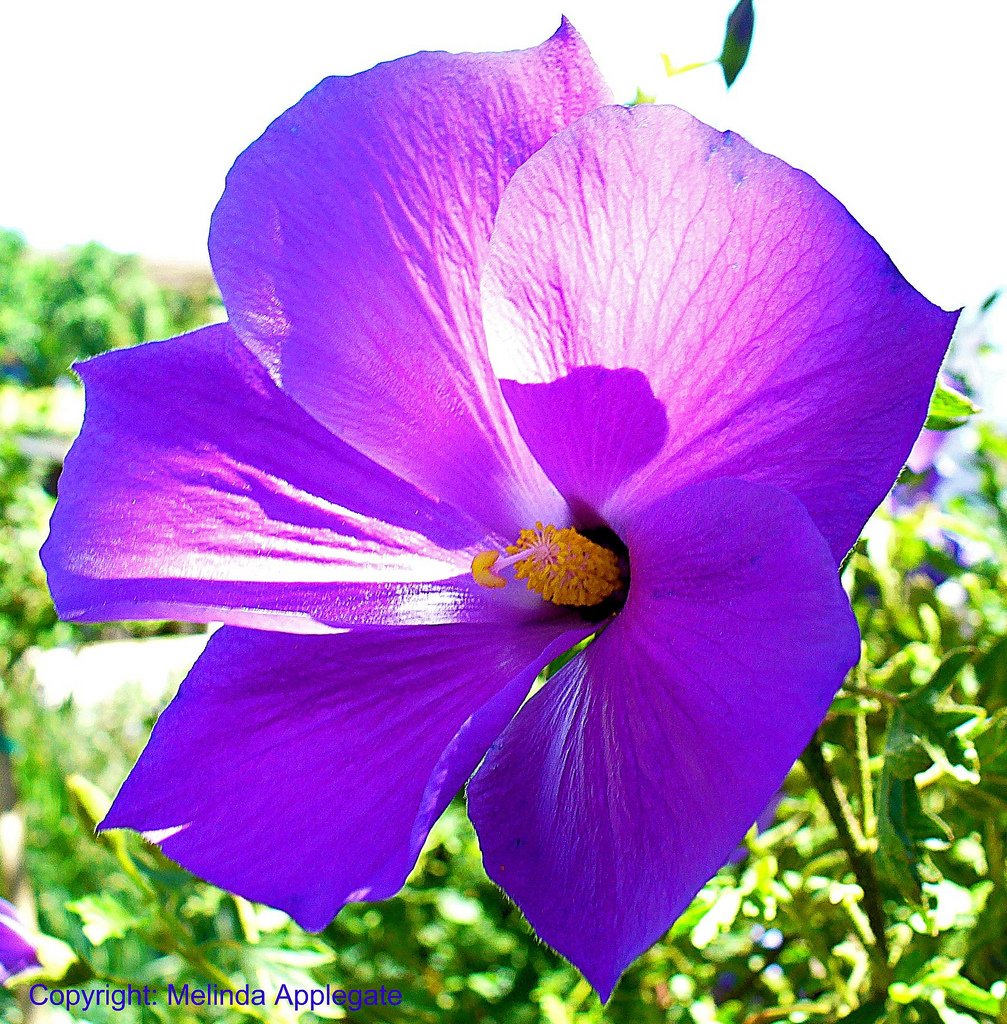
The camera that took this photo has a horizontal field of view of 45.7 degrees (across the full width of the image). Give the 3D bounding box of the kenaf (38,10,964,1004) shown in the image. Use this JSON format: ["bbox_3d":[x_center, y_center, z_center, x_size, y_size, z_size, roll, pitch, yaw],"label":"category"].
[{"bbox_3d":[-0.009,0.015,0.750,0.227,0.609,0.595,32,5,-34],"label":"kenaf"}]
